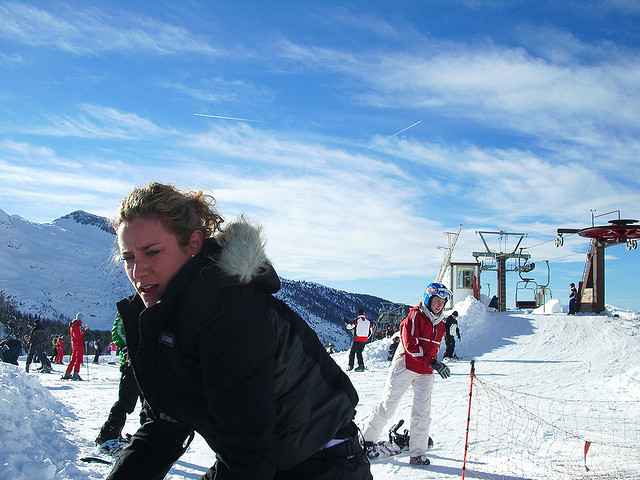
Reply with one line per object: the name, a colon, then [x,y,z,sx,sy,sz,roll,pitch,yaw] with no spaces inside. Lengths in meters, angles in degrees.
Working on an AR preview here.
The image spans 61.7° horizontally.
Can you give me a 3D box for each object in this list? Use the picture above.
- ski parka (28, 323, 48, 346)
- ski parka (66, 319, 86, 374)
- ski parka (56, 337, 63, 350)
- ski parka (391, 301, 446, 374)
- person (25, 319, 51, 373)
ski parka: [-9.033,2.986,17.127,0.484,0.742,0.943,5,-5,-28]
ski parka: [-7.178,3.142,15.685,0.418,1.731,1.477,5,-5,-24]
ski parka: [-10.382,4.108,21.271,0.160,0.446,0.659,5,-5,-29]
ski parka: [1.437,1.410,7.748,0.698,1.052,0.459,2,-4,9]
person: [-9.077,3.226,17.206,0.723,1.247,0.499,4,5,-5]
